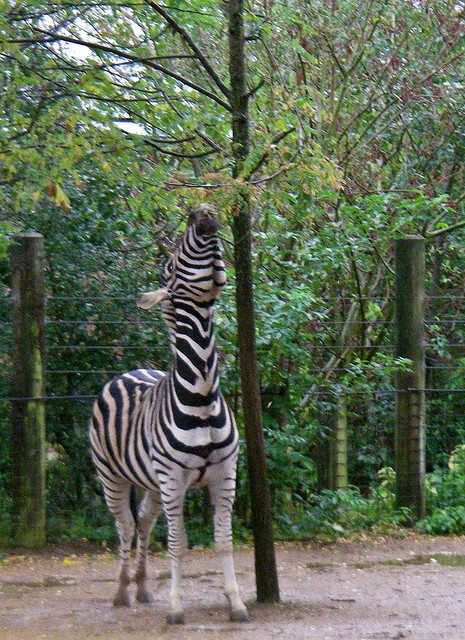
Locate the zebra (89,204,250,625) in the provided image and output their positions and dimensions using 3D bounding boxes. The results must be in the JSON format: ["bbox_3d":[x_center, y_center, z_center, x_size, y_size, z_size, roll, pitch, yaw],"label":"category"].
[{"bbox_3d":[-0.508,0.665,8.957,0.736,2.710,1.509,3,-5,-29],"label":"zebra"}]
